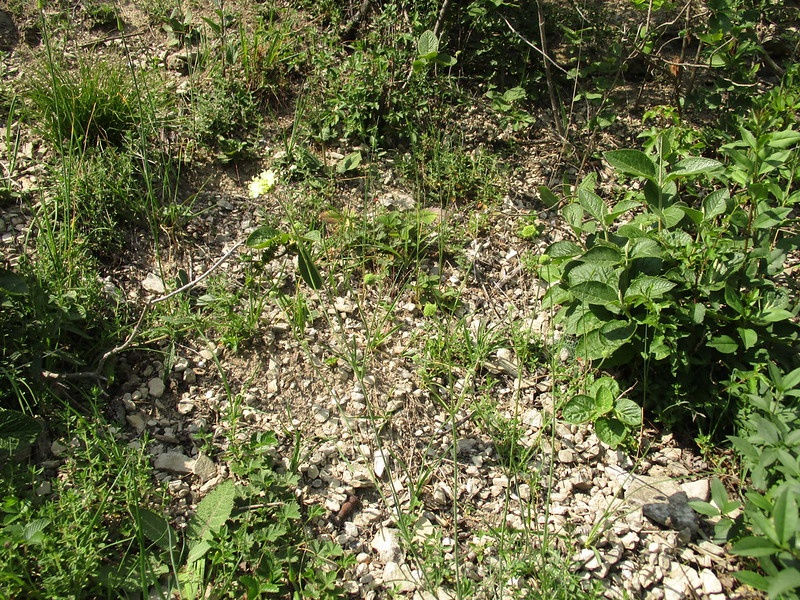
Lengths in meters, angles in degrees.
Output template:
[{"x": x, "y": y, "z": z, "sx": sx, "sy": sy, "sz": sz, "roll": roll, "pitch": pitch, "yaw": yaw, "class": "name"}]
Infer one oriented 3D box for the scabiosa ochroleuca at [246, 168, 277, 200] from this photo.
[{"x": -0.771, "y": -0.654, "z": 3.972, "sx": 0.130, "sy": 0.143, "sz": 0.195, "roll": -8, "pitch": 52, "yaw": 5, "class": "scabiosa ochroleuca"}]
